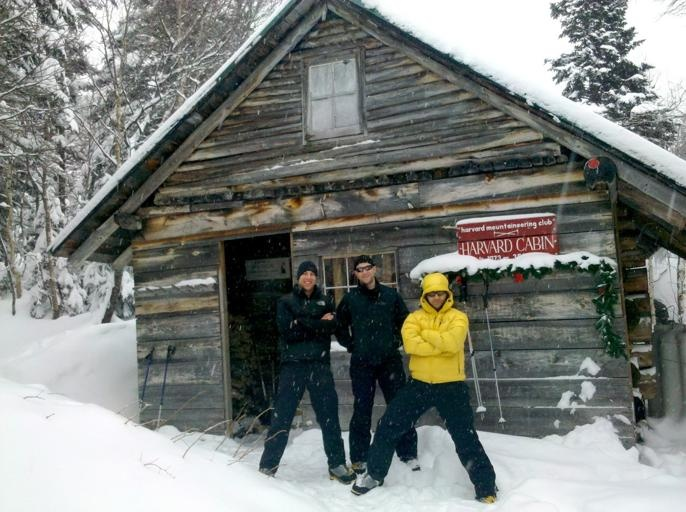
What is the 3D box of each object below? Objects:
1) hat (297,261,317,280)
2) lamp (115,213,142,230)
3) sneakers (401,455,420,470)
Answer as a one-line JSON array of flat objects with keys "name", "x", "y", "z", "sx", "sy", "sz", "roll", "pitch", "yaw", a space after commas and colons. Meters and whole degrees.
[{"name": "hat", "x": -0.557, "y": 0.209, "z": 10.656, "sx": 0.239, "sy": 0.206, "sz": 0.251, "roll": 5, "pitch": -12, "yaw": -16}, {"name": "lamp", "x": -3.761, "y": -0.611, "z": 12.496, "sx": 0.204, "sy": 0.274, "sz": 0.537, "roll": -5, "pitch": -6, "yaw": 27}, {"name": "sneakers", "x": 0.985, "y": 3.002, "z": 10.307, "sx": 0.204, "sy": 0.134, "sz": 0.101, "roll": 30, "pitch": 41, "yaw": 29}]
